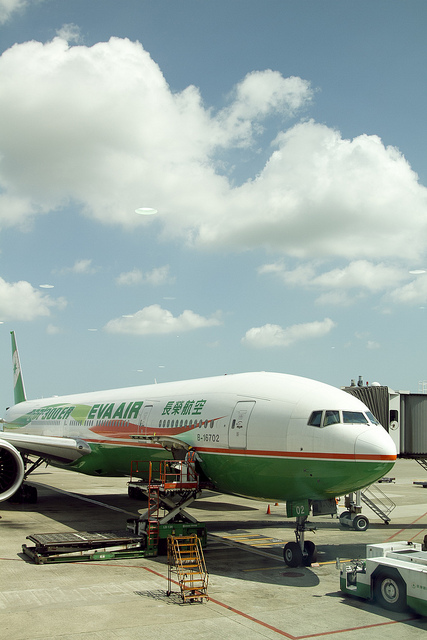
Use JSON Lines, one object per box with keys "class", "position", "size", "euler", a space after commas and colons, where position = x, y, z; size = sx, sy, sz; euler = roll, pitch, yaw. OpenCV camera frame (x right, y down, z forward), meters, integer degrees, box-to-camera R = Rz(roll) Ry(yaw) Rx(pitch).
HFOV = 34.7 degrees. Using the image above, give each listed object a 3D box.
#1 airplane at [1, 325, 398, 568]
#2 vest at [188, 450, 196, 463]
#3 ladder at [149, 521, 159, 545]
{"class": "airplane", "position": [0.136, 3.252, 20.892], "size": [11.372, 3.739, 10.790], "euler": [2, -4, -33]}
{"class": "vest", "position": [-0.635, 3.904, 19.495], "size": [0.303, 0.430, 0.272], "euler": [2, -8, -12]}
{"class": "ladder", "position": [-1.552, 5.626, 17.885], "size": [0.245, 0.496, 0.207], "euler": [1, -6, -5]}
